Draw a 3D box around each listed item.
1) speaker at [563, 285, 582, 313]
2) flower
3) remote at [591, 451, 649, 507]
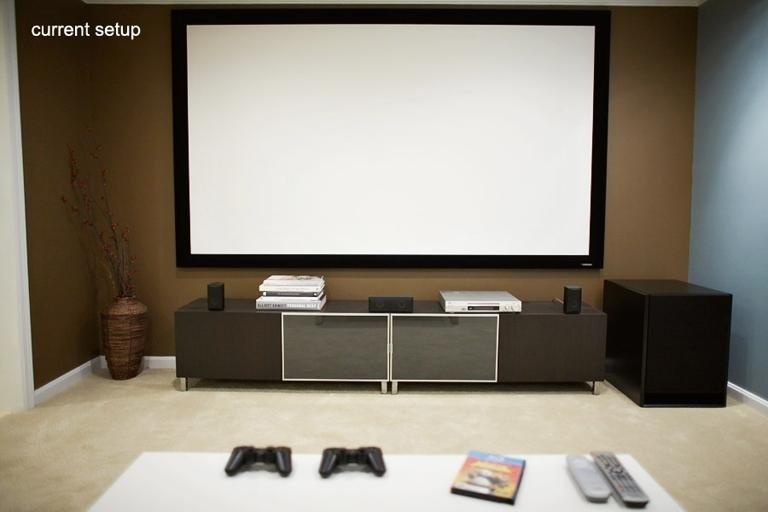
[{"bbox_3d":[1.570,0.366,4.840,0.149,0.233,0.096,-3,-1,10],"label":"speaker"},{"bbox_3d":[-2.567,-0.329,5.170,0.556,0.913,0.262,-2,-1,-26],"label":"flower"},{"bbox_3d":[1.303,1.226,3.183,0.161,0.286,0.298,-2,-2,-18],"label":"remote"}]
